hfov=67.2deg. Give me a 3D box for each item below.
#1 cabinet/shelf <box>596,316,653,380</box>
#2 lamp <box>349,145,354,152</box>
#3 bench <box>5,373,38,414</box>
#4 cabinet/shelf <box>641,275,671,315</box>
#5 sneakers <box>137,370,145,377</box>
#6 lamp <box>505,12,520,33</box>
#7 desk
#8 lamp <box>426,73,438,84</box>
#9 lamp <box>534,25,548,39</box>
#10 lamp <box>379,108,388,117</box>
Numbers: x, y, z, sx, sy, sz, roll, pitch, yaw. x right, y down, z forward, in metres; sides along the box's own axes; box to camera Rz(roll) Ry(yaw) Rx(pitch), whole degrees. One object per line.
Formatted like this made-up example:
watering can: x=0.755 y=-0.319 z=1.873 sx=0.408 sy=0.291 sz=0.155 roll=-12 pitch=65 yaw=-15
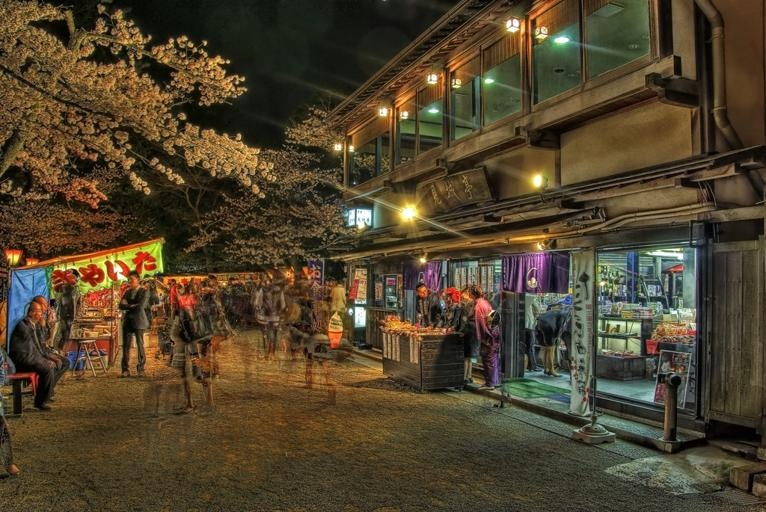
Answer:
cabinet/shelf: x=6.859 y=2.645 z=16.342 sx=0.902 sy=1.654 sz=1.838 roll=3 pitch=-6 yaw=-13
lamp: x=-1.493 y=-4.995 z=26.573 sx=0.291 sy=0.325 sz=0.289 roll=2 pitch=-3 yaw=-10
bench: x=-8.634 y=3.289 z=13.769 sx=0.346 sy=0.373 sz=1.040 roll=2 pitch=-5 yaw=-15
cabinet/shelf: x=9.323 y=1.261 z=19.801 sx=1.340 sy=1.169 sz=0.543 roll=-4 pitch=8 yaw=-34
sneakers: x=-7.185 y=3.491 z=17.173 sx=0.194 sy=0.104 sz=0.204 roll=0 pitch=-2 yaw=33
lamp: x=3.558 y=-6.413 z=15.886 sx=0.424 sy=0.497 sz=0.420 roll=-1 pitch=1 yaw=-24
desk: x=1.203 y=2.385 z=16.422 sx=1.427 sy=1.453 sz=2.782 roll=-1 pitch=-1 yaw=-22
lamp: x=1.615 y=-6.007 z=19.501 sx=0.324 sy=0.342 sz=0.555 roll=-2 pitch=6 yaw=-15
lamp: x=4.181 y=-5.950 z=15.350 sx=0.317 sy=0.308 sz=0.311 roll=-6 pitch=9 yaw=-41
lamp: x=-0.015 y=-5.732 z=22.613 sx=0.240 sy=0.323 sz=0.435 roll=-3 pitch=6 yaw=2
